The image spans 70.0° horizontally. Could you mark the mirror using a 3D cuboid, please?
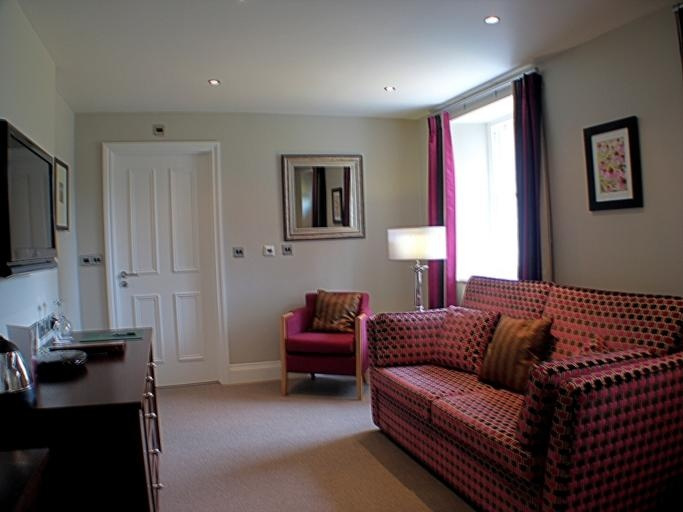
[{"bbox_3d":[-0.187,-0.622,5.081,0.829,1.016,0.056,-1,-23,-5],"label":"mirror"}]

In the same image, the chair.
[{"bbox_3d":[-0.133,0.821,4.625,0.797,0.869,0.682,-1,6,9],"label":"chair"}]

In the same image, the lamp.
[{"bbox_3d":[0.705,0.156,4.493,0.527,0.930,0.526,-8,9,-42],"label":"lamp"}]
